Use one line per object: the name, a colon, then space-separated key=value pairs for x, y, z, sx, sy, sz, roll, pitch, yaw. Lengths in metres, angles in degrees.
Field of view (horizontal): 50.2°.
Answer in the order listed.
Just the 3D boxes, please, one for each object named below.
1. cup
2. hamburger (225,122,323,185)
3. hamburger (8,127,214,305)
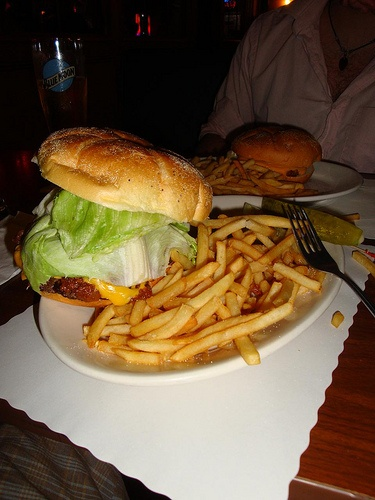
cup: x=-0.627 y=-0.830 z=2.027 sx=0.241 sy=0.420 sz=0.183 roll=-12 pitch=35 yaw=-19
hamburger: x=0.518 y=-0.591 z=2.559 sx=0.553 sy=0.274 sz=0.505 roll=-9 pitch=22 yaw=-28
hamburger: x=-0.226 y=-0.091 z=1.371 sx=0.596 sy=0.395 sz=0.609 roll=36 pitch=44 yaw=27
